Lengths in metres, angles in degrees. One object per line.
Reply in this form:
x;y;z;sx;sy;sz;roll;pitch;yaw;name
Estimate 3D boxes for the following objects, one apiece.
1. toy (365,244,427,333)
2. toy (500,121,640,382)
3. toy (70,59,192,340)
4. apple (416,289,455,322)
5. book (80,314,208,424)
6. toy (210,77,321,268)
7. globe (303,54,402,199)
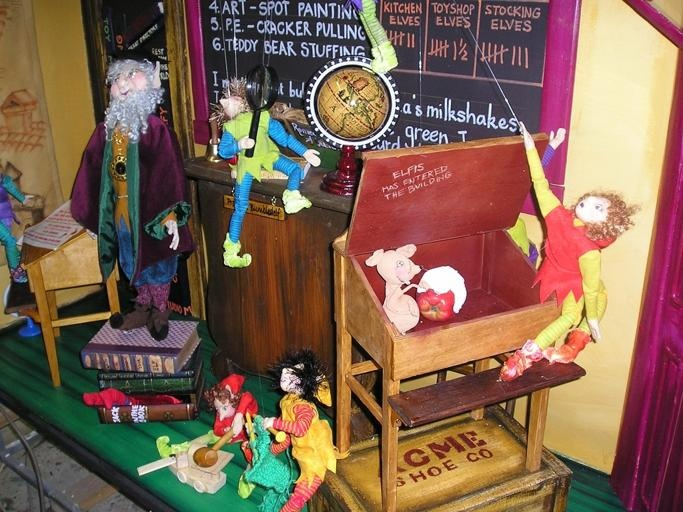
0.220;0.114;2.392;0.277;0.514;0.315;0;4;14;toy
0.853;-0.026;2.231;0.509;0.967;0.282;-3;16;-10;toy
-1.224;-0.319;3.309;0.705;1.604;0.303;3;16;9;toy
0.392;0.185;2.256;0.134;0.143;0.128;-7;18;-37;apple
-1.177;0.691;3.431;0.670;0.483;0.535;0;46;-3;book
-0.447;-0.515;2.896;0.524;0.929;0.428;-17;-23;-4;toy
0.045;-0.600;2.608;0.434;0.623;0.272;5;25;-2;globe
